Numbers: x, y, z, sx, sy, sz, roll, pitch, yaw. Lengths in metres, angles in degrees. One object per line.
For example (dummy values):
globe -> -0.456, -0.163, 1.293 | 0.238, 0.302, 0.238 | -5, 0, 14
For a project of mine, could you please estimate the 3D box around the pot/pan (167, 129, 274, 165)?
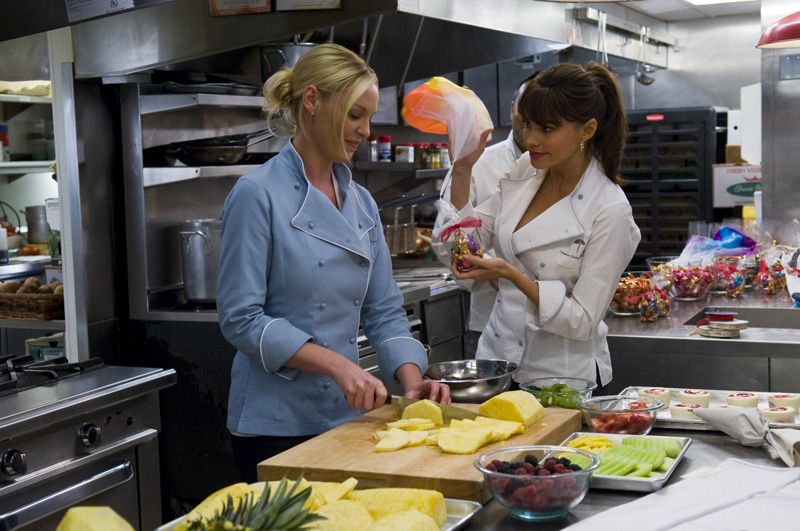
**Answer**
pot/pan -> -0.965, -0.631, 3.304 | 0.299, 0.073, 0.543 | -3, 4, 44

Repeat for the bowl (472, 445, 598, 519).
bowl -> 0.282, 0.458, 1.304 | 0.183, 0.072, 0.183 | -3, 4, 0

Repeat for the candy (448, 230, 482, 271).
candy -> 0.247, -0.061, 2.210 | 0.116, 0.160, 0.094 | -7, 7, -20

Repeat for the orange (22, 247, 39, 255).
orange -> -2.568, -0.101, 4.162 | 0.069, 0.034, 0.068 | 1, 3, 23

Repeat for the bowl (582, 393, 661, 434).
bowl -> 0.635, 0.425, 1.721 | 0.211, 0.082, 0.168 | -6, 6, -17

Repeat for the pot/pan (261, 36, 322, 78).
pot/pan -> -0.553, -0.988, 3.004 | 0.330, 0.226, 0.265 | -4, 7, -13
